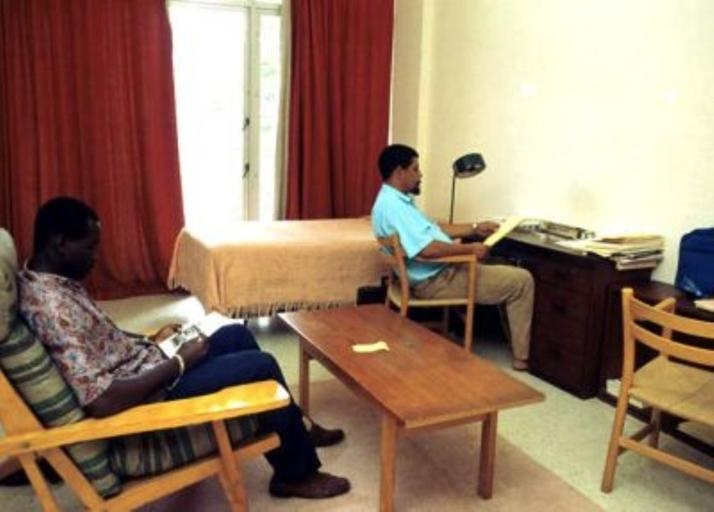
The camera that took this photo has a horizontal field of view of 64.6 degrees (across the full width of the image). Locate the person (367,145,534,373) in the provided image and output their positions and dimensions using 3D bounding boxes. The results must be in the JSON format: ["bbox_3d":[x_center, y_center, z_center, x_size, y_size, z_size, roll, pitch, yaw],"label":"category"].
[{"bbox_3d":[0.614,-0.008,3.628,1.079,1.352,0.666,1,16,0],"label":"person"}]

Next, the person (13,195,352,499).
[{"bbox_3d":[-0.648,0.410,2.376,1.309,1.290,0.633,-5,8,-28],"label":"person"}]

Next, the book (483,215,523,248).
[{"bbox_3d":[0.923,-0.128,3.500,0.442,0.023,0.128,-35,22,-35],"label":"book"}]

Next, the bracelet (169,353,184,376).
[{"bbox_3d":[-0.666,0.401,2.086,0.018,0.070,0.062,-12,12,-39],"label":"bracelet"}]

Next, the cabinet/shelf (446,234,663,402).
[{"bbox_3d":[1.497,0.343,3.408,0.796,0.727,0.466,-5,10,-24],"label":"cabinet/shelf"}]

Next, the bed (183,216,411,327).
[{"bbox_3d":[-0.484,0.070,3.767,0.985,0.265,0.792,-4,13,-22],"label":"bed"}]

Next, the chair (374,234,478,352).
[{"bbox_3d":[0.466,0.124,3.750,0.677,1.004,0.762,-2,8,-7],"label":"chair"}]

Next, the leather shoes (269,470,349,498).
[{"bbox_3d":[-0.202,0.985,2.474,0.356,0.145,0.120,-1,7,-6],"label":"leather shoes"}]
